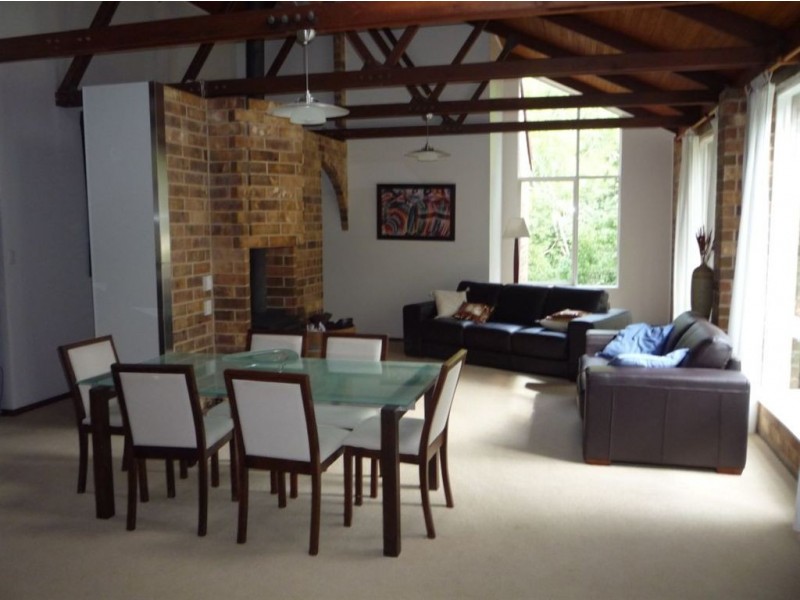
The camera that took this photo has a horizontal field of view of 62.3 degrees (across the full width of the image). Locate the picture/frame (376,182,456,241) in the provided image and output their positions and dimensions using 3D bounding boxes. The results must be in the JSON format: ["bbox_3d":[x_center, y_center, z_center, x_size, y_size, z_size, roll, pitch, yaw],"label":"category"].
[{"bbox_3d":[0.211,-1.249,9.299,1.074,0.756,0.254,0,13,2],"label":"picture/frame"}]

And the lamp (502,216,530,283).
[{"bbox_3d":[1.715,-0.757,9.986,0.358,1.065,0.919,2,13,9],"label":"lamp"}]

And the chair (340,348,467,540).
[{"bbox_3d":[0.042,0.889,4.378,0.798,1.128,0.688,-2,13,-7],"label":"chair"}]

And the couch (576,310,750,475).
[{"bbox_3d":[2.134,0.462,5.379,0.934,0.928,1.724,1,2,17],"label":"couch"}]

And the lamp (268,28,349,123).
[{"bbox_3d":[-0.660,-1.616,4.691,0.480,0.627,0.495,-3,8,-14],"label":"lamp"}]

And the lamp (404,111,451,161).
[{"bbox_3d":[0.308,-2.024,7.940,0.534,0.672,0.553,-3,4,-30],"label":"lamp"}]

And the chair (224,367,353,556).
[{"bbox_3d":[-0.661,0.961,4.069,0.749,1.150,0.398,-4,14,-17],"label":"chair"}]

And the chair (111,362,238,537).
[{"bbox_3d":[-1.488,0.902,4.361,0.650,1.133,0.464,2,13,8],"label":"chair"}]

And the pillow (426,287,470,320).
[{"bbox_3d":[0.626,0.014,8.679,0.348,0.382,0.110,6,-20,-8],"label":"pillow"}]
